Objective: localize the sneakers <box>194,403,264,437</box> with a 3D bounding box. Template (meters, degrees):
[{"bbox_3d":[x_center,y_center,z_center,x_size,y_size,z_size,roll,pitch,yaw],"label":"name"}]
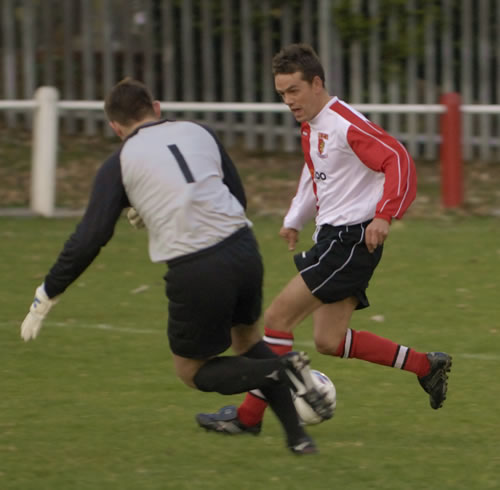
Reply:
[{"bbox_3d":[-0.122,0.818,4.593,0.255,0.082,0.134,6,-8,2],"label":"sneakers"}]

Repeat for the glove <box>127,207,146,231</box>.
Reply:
[{"bbox_3d":[-0.519,-0.114,4.407,0.038,0.094,0.082,-29,-1,32],"label":"glove"}]

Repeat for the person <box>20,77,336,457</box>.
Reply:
[{"bbox_3d":[-0.317,-0.021,4.278,1.238,1.338,0.440,2,15,2],"label":"person"}]

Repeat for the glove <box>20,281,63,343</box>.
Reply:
[{"bbox_3d":[-0.963,0.296,4.496,0.235,0.284,0.085,11,25,-20],"label":"glove"}]

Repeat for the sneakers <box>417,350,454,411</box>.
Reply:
[{"bbox_3d":[0.904,0.641,4.828,0.201,0.289,0.122,-11,12,3],"label":"sneakers"}]

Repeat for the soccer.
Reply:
[{"bbox_3d":[0.282,0.713,4.568,0.270,0.202,0.177,4,2,8],"label":"soccer"}]
